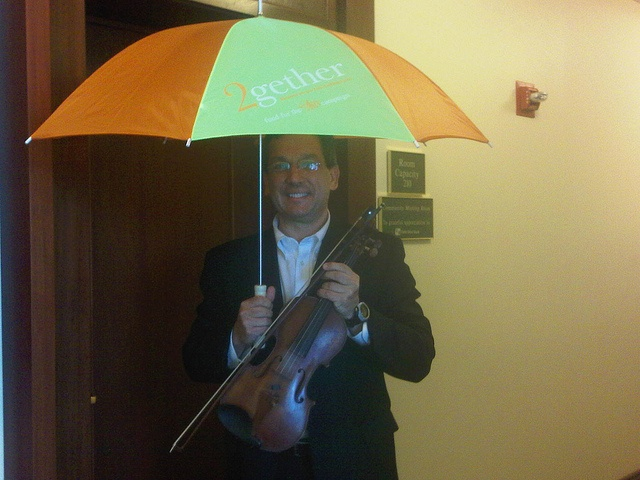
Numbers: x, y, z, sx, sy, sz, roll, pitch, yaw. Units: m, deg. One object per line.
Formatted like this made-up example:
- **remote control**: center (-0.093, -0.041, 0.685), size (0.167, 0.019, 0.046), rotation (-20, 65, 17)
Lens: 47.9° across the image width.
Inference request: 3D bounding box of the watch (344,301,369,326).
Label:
- **watch**: center (0.172, 0.325, 3.242), size (0.060, 0.103, 0.081), rotation (44, 15, -6)
